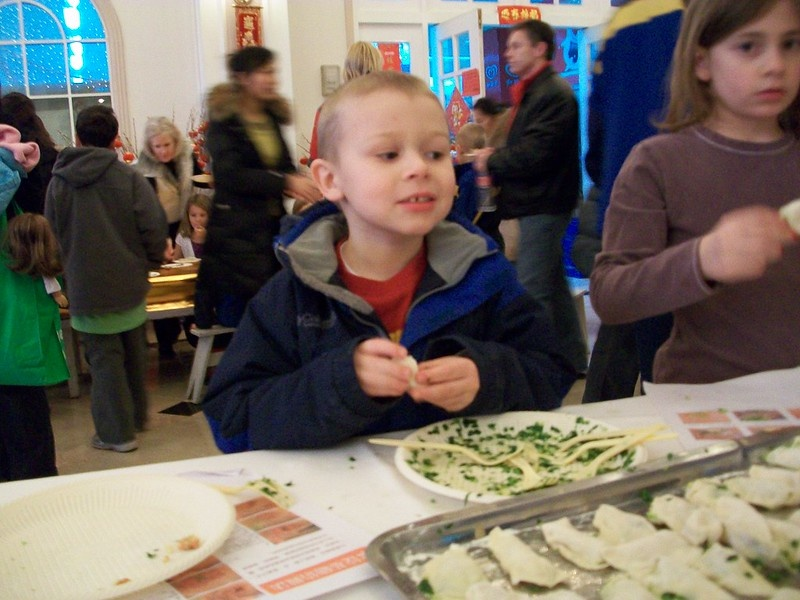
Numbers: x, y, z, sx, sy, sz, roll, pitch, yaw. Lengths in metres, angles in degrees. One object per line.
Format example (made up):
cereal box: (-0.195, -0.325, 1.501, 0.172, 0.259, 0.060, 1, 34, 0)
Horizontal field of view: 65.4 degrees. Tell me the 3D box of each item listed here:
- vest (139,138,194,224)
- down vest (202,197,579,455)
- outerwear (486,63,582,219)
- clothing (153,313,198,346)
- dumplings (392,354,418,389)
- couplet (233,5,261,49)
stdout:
vest: (-1.786, -0.934, 4.864, 0.337, 0.561, 0.461, 25, 39, 29)
down vest: (-0.012, 0.101, 1.373, 0.768, 0.577, 0.515, -10, 22, -22)
outerwear: (0.609, -0.956, 3.739, 0.714, 1.012, 0.892, 0, 20, 5)
clothing: (-1.803, 0.227, 5.012, 0.306, 0.192, 0.159, -4, 29, -6)
dumplings: (0.010, 0.119, 1.070, 0.032, 0.049, 0.012, -11, -5, -45)
couplet: (-1.575, -2.857, 6.478, 0.303, 0.417, 0.197, -3, 16, -4)
